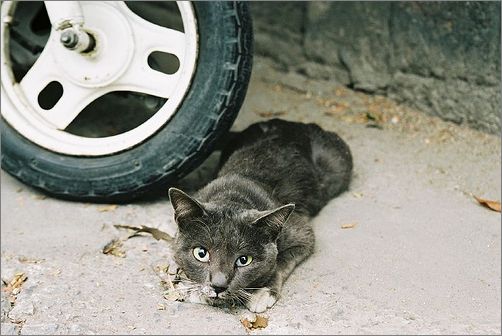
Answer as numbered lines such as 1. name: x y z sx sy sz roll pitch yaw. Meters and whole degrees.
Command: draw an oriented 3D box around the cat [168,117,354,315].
1. cat: 0.108 0.213 4.142 0.859 0.654 1.584 2 35 23
